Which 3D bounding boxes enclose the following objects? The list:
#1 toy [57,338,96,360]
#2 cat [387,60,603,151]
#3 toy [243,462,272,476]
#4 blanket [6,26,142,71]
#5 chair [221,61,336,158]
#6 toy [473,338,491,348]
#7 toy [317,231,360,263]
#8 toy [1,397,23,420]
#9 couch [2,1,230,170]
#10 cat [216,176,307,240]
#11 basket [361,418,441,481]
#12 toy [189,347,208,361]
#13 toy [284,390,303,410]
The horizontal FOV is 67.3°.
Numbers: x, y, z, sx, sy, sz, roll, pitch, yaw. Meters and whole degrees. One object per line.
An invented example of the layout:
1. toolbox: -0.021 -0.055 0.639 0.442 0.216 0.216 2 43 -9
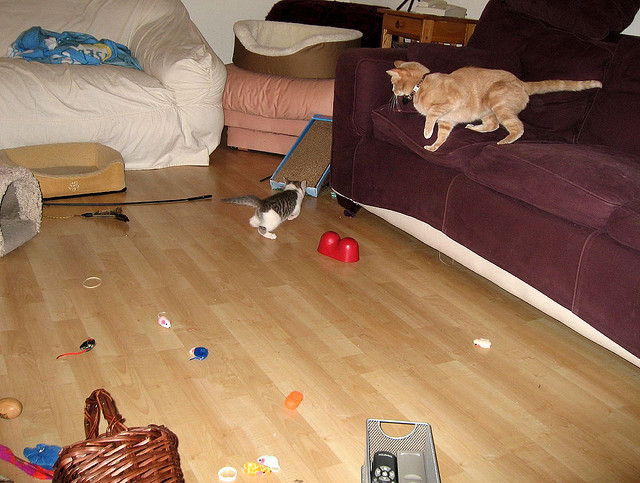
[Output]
1. toy: -0.833 0.368 1.649 0.119 0.030 0.038 -22 5 3
2. cat: 0.816 -0.674 2.322 0.973 0.392 0.262 1 20 6
3. toy: -0.172 0.616 1.294 0.062 0.011 0.032 6 26 -8
4. blanket: -1.736 -1.356 3.391 0.749 0.169 0.473 -1 35 -24
5. chair: -0.347 -1.049 3.741 1.017 0.493 0.682 8 42 2
6. toy: 0.611 0.378 1.809 0.061 0.020 0.040 17 38 20
7. toy: 0.116 0.035 2.375 0.152 0.144 0.295 1 0 -43
8. toy: -0.886 0.476 1.379 0.051 0.048 0.054 -3 36 -8
9. couch: -1.453 -1.111 3.424 1.424 0.925 1.324 -11 38 -18
10. cat: -0.243 -0.185 2.523 0.236 0.257 0.497 24 32 27
11. basket: 0.203 0.501 1.209 0.196 0.122 0.178 0 15 -4
12. toy: -0.418 0.381 1.648 0.062 0.015 0.054 -4 35 -9
13. toy: -0.081 0.489 1.484 0.037 0.014 0.056 25 30 13
